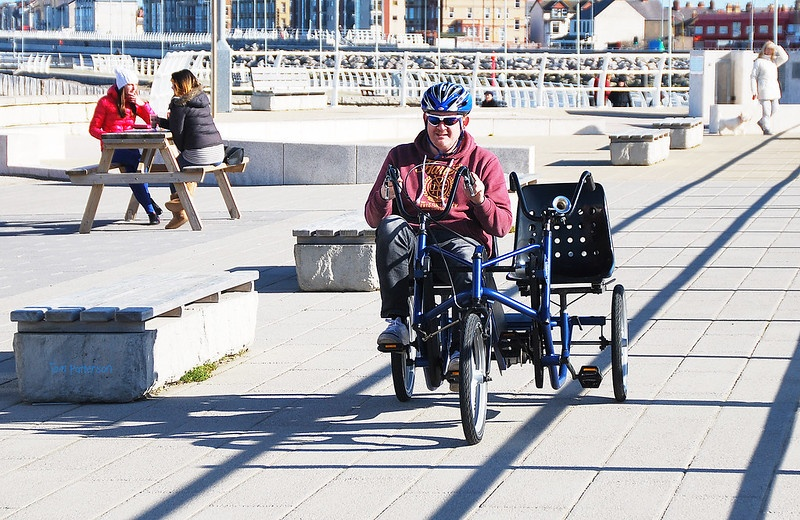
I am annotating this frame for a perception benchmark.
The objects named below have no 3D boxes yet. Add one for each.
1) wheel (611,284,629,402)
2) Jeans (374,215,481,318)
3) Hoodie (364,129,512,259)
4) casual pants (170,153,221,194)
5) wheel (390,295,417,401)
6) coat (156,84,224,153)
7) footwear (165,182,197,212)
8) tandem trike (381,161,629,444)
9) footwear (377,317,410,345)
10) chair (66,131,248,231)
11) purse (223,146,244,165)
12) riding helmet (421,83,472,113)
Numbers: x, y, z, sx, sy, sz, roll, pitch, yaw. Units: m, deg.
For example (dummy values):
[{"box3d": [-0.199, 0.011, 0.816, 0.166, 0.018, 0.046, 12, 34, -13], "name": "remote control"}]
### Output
[{"box3d": [1.598, 0.644, 9.906, 0.173, 0.762, 0.714, -1, 7, 10], "name": "wheel"}, {"box3d": [0.163, 0.077, 10.014, 0.560, 0.727, 0.782, -2, -3, 0], "name": "Jeans"}, {"box3d": [0.281, -0.470, 9.925, 1.048, 0.996, 0.771, 5, 14, 9], "name": "Hoodie"}, {"box3d": [-2.476, -1.050, 16.250, 0.395, 0.157, 0.672, 1, 12, 18], "name": "casual pants"}, {"box3d": [0.016, 0.615, 9.730, 0.183, 0.822, 0.694, 1, 4, 7], "name": "wheel"}, {"box3d": [-2.543, -1.695, 16.175, 0.650, 0.768, 0.574, -1, 18, 23], "name": "coat"}, {"box3d": [-2.627, -0.767, 16.247, 0.277, 0.414, 0.386, 6, -23, -13], "name": "footwear"}, {"box3d": [0.688, 0.275, 10.005, 1.705, 1.961, 2.719, 1, 2, 19], "name": "tandem trike"}, {"box3d": [-0.036, 0.521, 9.617, 0.115, 0.138, 0.284, 5, -4, 12], "name": "footwear"}, {"box3d": [-2.932, -1.059, 15.951, 1.327, 0.914, 1.569, 3, 8, 14], "name": "chair"}, {"box3d": [-2.049, -1.266, 16.560, 0.200, 0.082, 0.217, 5, 25, -1], "name": "purse"}, {"box3d": [0.332, -1.157, 9.758, 0.353, 0.238, 0.237, -3, 15, -2], "name": "riding helmet"}]
